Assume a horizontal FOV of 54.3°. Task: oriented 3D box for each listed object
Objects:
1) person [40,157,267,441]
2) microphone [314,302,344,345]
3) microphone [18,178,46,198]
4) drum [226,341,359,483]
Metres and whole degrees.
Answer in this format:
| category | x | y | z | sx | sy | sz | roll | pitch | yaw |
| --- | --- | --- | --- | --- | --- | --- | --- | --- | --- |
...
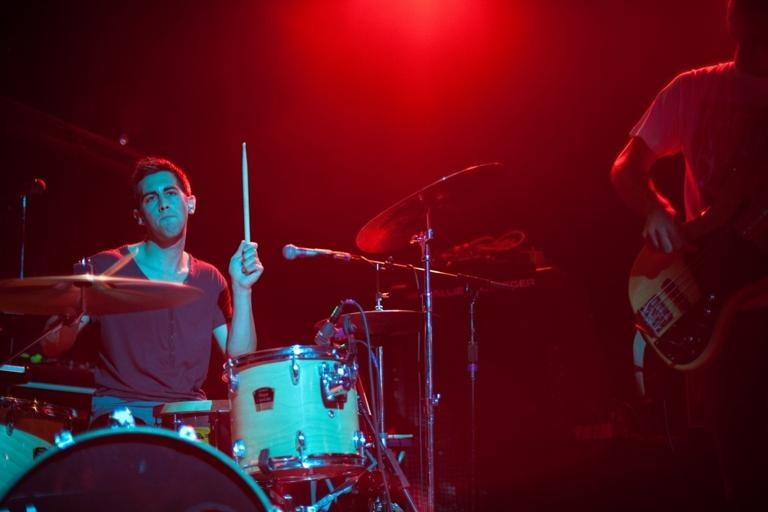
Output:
| category | x | y | z | sx | sy | sz | roll | pitch | yaw |
| --- | --- | --- | --- | --- | --- | --- | --- | --- | --- |
| person | -1.548 | 0.343 | 5.044 | 1.283 | 2.057 | 1.019 | 0 | 4 | -21 |
| microphone | -0.376 | 0.500 | 5.033 | 0.147 | 0.222 | 0.461 | 2 | -24 | -11 |
| microphone | -2.474 | -0.495 | 5.233 | 0.194 | 0.086 | 0.137 | -20 | -9 | 22 |
| drum | -0.554 | 1.012 | 5.078 | 0.794 | 0.658 | 0.858 | -11 | -23 | -5 |
